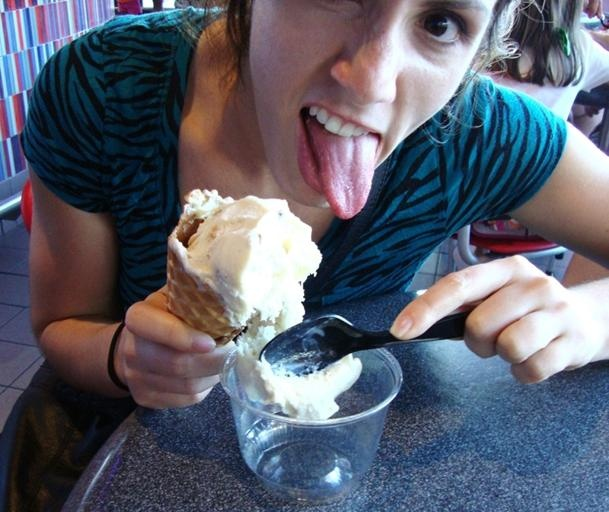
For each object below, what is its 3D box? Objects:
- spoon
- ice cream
[{"bbox_3d":[0.148,0.163,0.964,0.441,0.064,0.146,-2,14,-21],"label":"spoon"},{"bbox_3d":[-0.084,0.018,1.024,0.338,0.376,0.316,-13,21,-39],"label":"ice cream"}]
